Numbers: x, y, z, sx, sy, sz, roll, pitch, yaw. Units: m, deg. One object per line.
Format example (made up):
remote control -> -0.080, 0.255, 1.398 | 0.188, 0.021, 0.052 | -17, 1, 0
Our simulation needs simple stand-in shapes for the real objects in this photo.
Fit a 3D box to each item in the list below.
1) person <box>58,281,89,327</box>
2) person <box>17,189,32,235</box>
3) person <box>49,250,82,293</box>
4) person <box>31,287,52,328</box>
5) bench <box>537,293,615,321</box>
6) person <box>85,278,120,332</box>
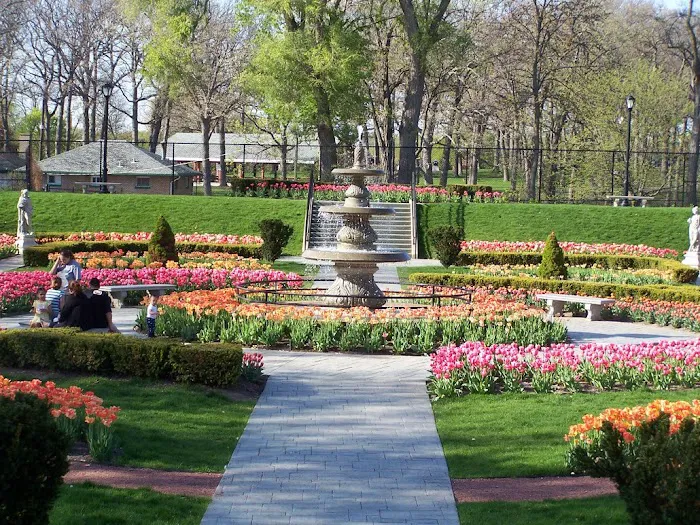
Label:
person -> -5.218, 0.802, 20.799 | 0.637, 0.907, 0.500 | 3, 12, 19
person -> -10.378, -1.605, 35.168 | 0.417, 1.478, 0.423 | -5, 12, -23
person -> -5.907, 0.436, 23.041 | 0.663, 1.348, 0.423 | 1, 9, 7
person -> -6.395, 0.767, 22.723 | 0.386, 0.702, 2.637 | -4, 12, -16
bench -> 5.481, 1.048, 26.693 | 1.936, 0.651, 1.155 | 6, 13, 28
person -> -4.846, 0.844, 21.455 | 0.462, 1.198, 1.918 | -3, 12, -13
